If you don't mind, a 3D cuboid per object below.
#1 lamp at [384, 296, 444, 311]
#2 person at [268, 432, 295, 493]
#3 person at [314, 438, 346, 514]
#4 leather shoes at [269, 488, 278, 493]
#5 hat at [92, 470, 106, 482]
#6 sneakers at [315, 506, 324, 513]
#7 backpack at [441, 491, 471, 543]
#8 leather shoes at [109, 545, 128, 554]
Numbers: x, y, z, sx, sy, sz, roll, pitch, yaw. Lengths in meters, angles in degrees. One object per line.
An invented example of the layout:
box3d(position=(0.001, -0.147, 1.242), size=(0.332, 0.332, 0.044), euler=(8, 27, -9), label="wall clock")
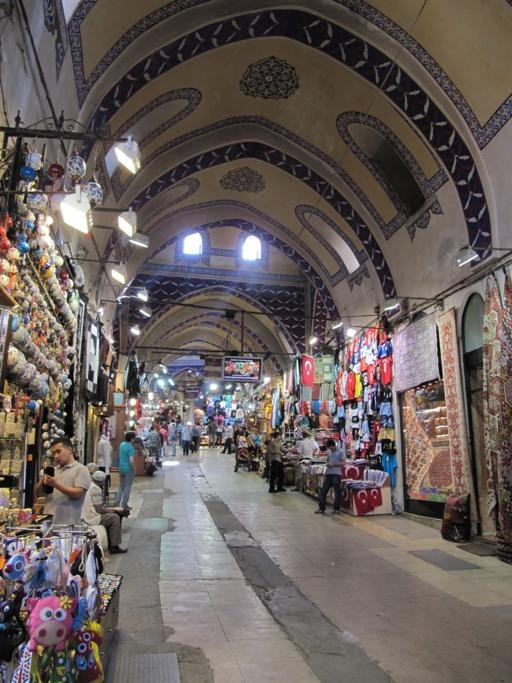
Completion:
box3d(position=(3.015, -0.711, 8.287), size=(0.116, 0.208, 1.367), euler=(6, 3, -23), label="lamp")
box3d(position=(0.458, 2.908, 10.540), size=(0.344, 1.395, 0.616), euler=(-2, -13, 16), label="person")
box3d(position=(1.375, 2.532, 8.247), size=(0.513, 1.316, 0.824), euler=(-1, -13, 10), label="person")
box3d(position=(0.393, 3.509, 10.295), size=(0.175, 0.102, 0.384), euler=(-8, -17, 35), label="leather shoes")
box3d(position=(-1.888, 1.609, 5.272), size=(0.138, 0.117, 0.146), euler=(4, -4, -6), label="hat")
box3d(position=(1.150, 3.116, 8.059), size=(0.190, 0.198, 0.086), euler=(0, -21, 7), label="sneakers")
box3d(position=(2.891, 2.559, 6.333), size=(0.249, 0.690, 0.552), euler=(22, -23, -13), label="backpack")
box3d(position=(-1.548, 2.351, 4.925), size=(0.194, 0.085, 0.068), euler=(3, -7, -11), label="leather shoes")
